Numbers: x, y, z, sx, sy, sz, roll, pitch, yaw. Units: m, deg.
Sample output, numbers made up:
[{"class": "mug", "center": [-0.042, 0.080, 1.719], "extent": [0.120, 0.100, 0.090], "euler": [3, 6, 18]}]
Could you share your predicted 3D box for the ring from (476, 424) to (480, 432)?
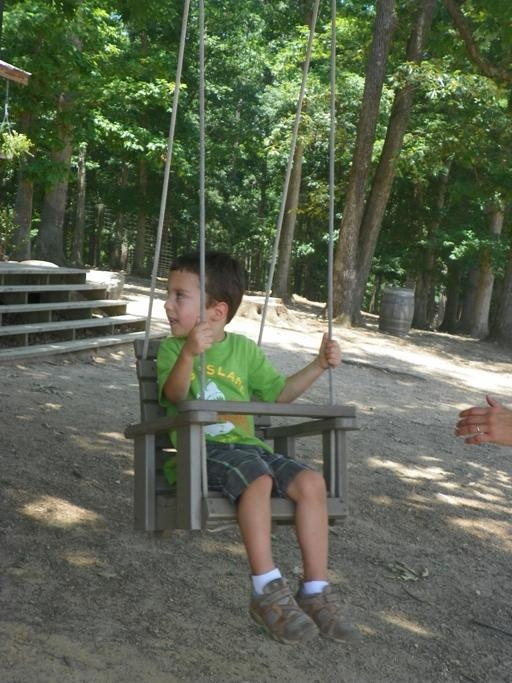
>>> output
[{"class": "ring", "center": [0.779, 0.308, 2.392], "extent": [0.015, 0.018, 0.006], "euler": [5, -7, -2]}]

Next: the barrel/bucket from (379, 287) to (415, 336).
[{"class": "barrel/bucket", "center": [2.976, -0.651, 14.489], "extent": [0.675, 0.985, 0.842], "euler": [12, 8, 9]}]

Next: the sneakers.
[{"class": "sneakers", "center": [0.128, 0.828, 2.114], "extent": [0.328, 0.136, 0.187], "euler": [8, 4, 36]}]
